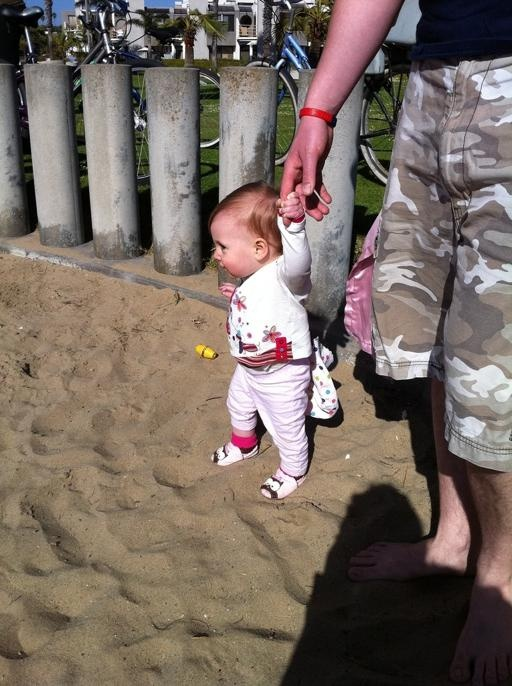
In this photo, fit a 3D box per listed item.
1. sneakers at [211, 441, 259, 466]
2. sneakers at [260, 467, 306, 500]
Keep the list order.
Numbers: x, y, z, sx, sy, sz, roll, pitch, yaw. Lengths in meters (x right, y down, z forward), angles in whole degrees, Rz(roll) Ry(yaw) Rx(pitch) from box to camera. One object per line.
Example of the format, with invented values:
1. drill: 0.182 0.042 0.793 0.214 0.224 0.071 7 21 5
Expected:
1. sneakers: -0.083 0.412 2.409 0.152 0.056 0.077 -6 23 -8
2. sneakers: 0.103 0.495 2.278 0.146 0.057 0.081 -29 33 -28
